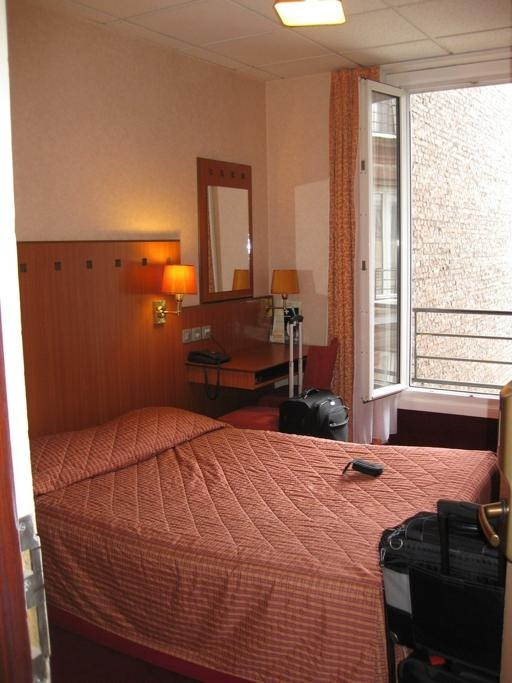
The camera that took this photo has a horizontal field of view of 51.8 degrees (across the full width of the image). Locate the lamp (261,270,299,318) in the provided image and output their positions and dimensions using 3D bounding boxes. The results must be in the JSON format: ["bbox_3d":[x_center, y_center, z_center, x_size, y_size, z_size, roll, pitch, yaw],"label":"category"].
[{"bbox_3d":[0.233,-0.487,5.026,0.345,0.570,0.382,-1,13,3],"label":"lamp"}]

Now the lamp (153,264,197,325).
[{"bbox_3d":[-0.591,-0.333,3.828,0.285,0.438,0.263,3,6,15],"label":"lamp"}]
